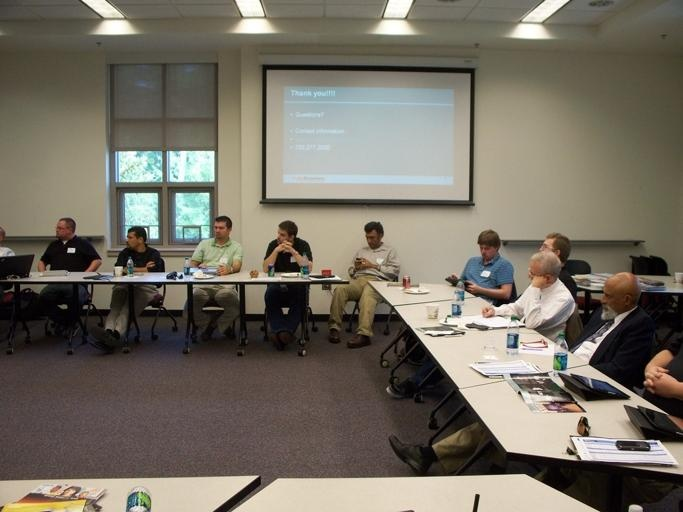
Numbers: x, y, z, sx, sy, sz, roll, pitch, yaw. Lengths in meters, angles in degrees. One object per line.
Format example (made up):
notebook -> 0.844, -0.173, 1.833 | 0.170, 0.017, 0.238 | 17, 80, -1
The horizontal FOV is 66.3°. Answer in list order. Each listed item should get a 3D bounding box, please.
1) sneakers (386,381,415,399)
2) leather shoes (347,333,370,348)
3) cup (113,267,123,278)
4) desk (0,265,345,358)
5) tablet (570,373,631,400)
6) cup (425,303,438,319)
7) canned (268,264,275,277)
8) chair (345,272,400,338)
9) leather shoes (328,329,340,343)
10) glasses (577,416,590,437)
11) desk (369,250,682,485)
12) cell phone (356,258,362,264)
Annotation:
sneakers -> 0.503, 1.138, 4.408 | 0.230, 0.111, 0.110 | 3, -2, -18
leather shoes -> 0.192, 0.975, 5.898 | 0.109, 0.123, 0.296 | -4, -8, 33
cup -> -2.347, 0.177, 5.531 | 0.098, 0.115, 0.102 | 1, -1, 0
desk -> -1.908, 0.511, 5.769 | 3.486, 1.034, 0.868 | 0, 8, 0
tablet -> 1.363, 0.703, 2.782 | 0.304, 0.073, 0.205 | 3, 9, 22
cup -> 0.716, 0.438, 4.100 | 0.101, 0.083, 0.101 | 0, 0, 0
canned -> -0.776, 0.173, 5.800 | 0.094, 0.177, 0.098 | 0, 4, -8
chair -> 0.341, 0.608, 6.671 | 0.630, 0.938, 0.619 | 4, 3, 16
leather shoes -> -0.085, 0.938, 6.075 | 0.107, 0.132, 0.302 | 0, -6, -4
glasses -> 1.122, 0.798, 2.442 | 0.049, 0.086, 0.083 | -1, -2, 18
desk -> 1.175, 0.655, 3.622 | 1.798, 1.149, 1.067 | -8, 4, 1
cell phone -> 0.215, 0.068, 6.454 | 0.060, 0.061, 0.018 | 0, -6, -1
